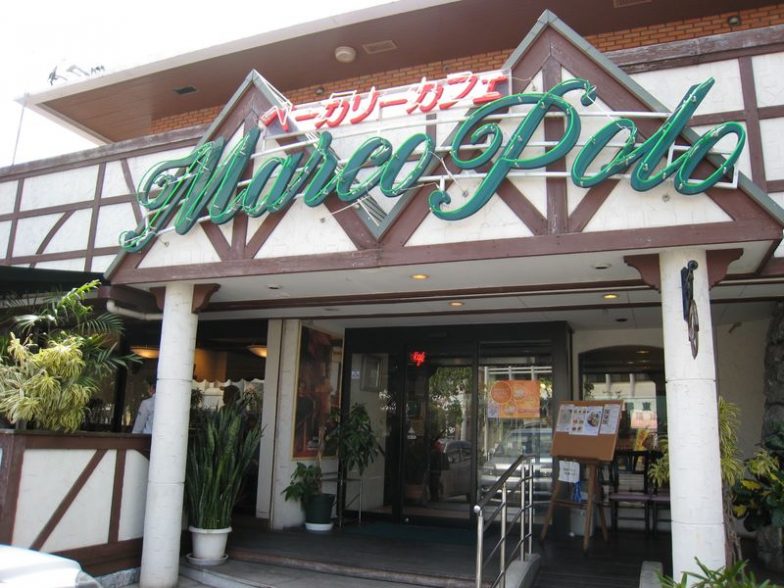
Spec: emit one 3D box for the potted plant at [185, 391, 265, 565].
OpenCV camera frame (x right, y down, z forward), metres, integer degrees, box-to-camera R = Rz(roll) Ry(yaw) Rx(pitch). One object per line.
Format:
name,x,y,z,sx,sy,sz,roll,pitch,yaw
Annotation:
potted plant,-2.229,2.386,8.277,0.822,1.994,0.437,7,-14,-18

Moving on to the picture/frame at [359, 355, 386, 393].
picture/frame,-0.312,1.340,10.608,0.567,0.823,0.080,-1,-9,16

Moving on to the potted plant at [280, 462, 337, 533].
potted plant,-1.198,3.029,9.786,0.600,1.073,0.857,-11,-16,27

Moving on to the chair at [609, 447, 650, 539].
chair,3.572,2.966,9.714,0.608,1.194,0.790,-1,-13,16

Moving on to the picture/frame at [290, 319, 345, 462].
picture/frame,-1.183,1.593,10.192,1.066,2.031,0.070,0,-2,39
